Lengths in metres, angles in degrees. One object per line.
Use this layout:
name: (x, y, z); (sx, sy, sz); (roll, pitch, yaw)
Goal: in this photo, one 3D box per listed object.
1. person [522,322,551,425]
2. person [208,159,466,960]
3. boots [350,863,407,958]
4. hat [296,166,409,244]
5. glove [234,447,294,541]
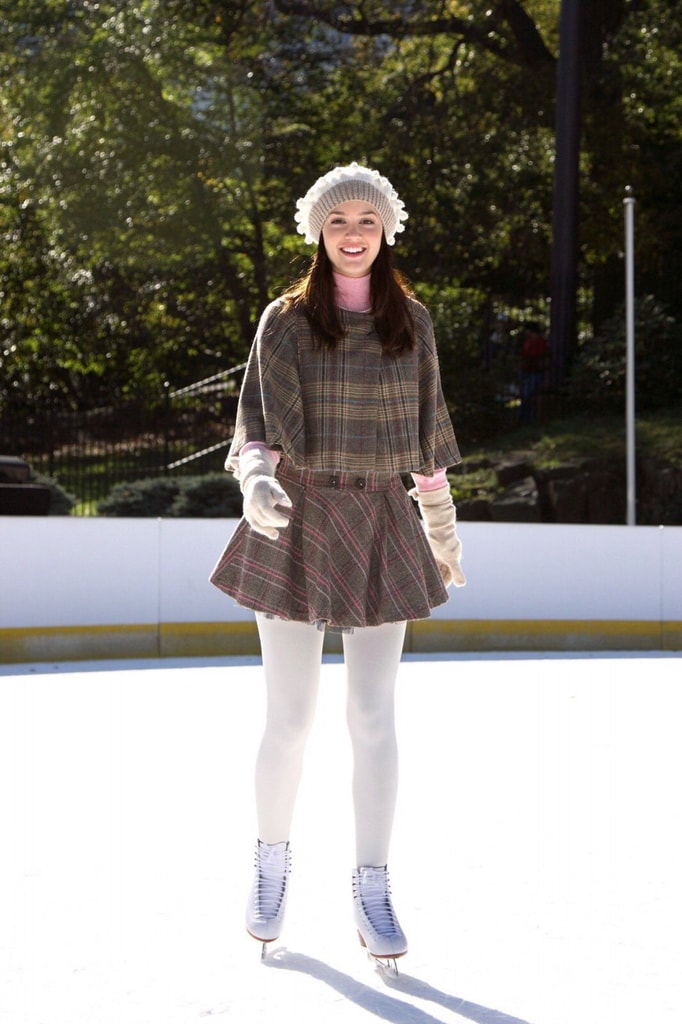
person: (2.167, -1.564, 11.916); (0.308, 1.129, 0.469); (1, 4, 9)
person: (-0.003, 0.058, 1.983); (0.435, 1.435, 0.505); (1, 4, 6)
boots: (0.068, 0.704, 1.844); (0.080, 0.151, 0.162); (0, 4, -7)
hat: (0.019, -0.566, 2.077); (0.200, 0.174, 0.087); (-1, 9, -3)
glove: (-0.113, -0.049, 1.827); (0.100, 0.148, 0.097); (8, 11, 44)
